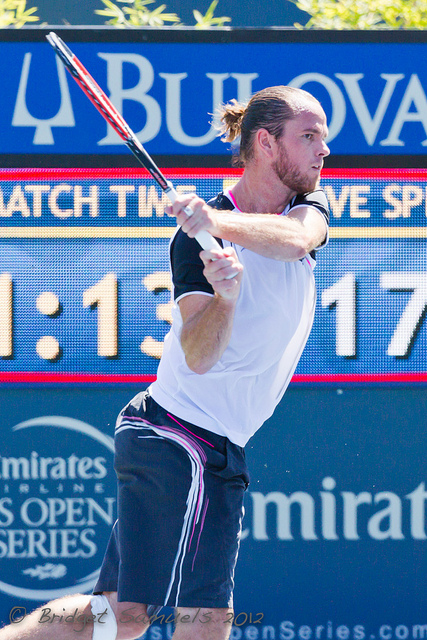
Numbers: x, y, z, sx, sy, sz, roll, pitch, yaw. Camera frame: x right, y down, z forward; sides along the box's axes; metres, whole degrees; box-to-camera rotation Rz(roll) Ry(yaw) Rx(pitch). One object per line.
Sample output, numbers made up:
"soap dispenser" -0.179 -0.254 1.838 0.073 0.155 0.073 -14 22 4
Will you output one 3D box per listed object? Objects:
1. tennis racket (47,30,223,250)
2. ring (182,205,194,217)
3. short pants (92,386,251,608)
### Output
"tennis racket" -0.306 -0.748 5.072 0.168 1.049 0.048 -25 -12 -32
"ring" -0.076 -0.328 3.871 0.010 0.022 0.029 -7 -48 50
"short pants" -0.223 0.631 4.539 0.561 0.874 0.638 7 -10 -13
